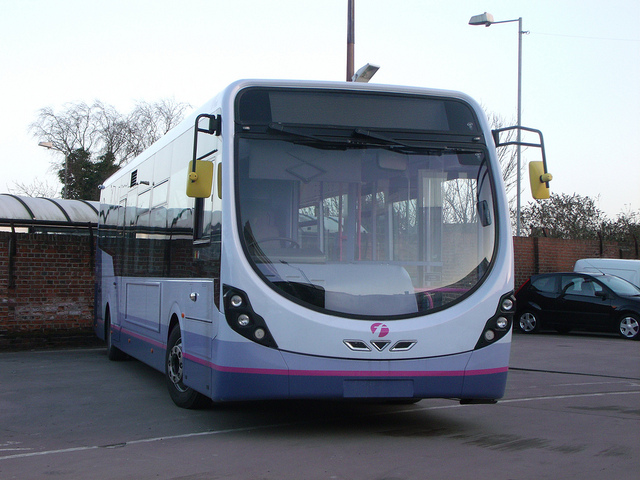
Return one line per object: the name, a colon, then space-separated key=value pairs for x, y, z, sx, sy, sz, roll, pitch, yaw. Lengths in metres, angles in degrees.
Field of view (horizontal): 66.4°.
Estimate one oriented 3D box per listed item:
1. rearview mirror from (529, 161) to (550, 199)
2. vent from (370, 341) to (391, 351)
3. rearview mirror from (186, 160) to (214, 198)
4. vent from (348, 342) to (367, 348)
rearview mirror: x=2.618 y=-0.718 z=5.787 sx=0.227 sy=0.450 sz=0.147 roll=1 pitch=2 yaw=13
vent: x=0.597 y=1.016 z=4.727 sx=0.189 sy=0.092 sz=0.018 roll=0 pitch=2 yaw=-14
rearview mirror: x=-1.253 y=-0.682 z=5.094 sx=0.265 sy=0.453 sz=0.163 roll=-3 pitch=37 yaw=-26
vent: x=0.369 y=0.999 z=4.714 sx=0.173 sy=0.050 sz=0.049 roll=6 pitch=5 yaw=-3
